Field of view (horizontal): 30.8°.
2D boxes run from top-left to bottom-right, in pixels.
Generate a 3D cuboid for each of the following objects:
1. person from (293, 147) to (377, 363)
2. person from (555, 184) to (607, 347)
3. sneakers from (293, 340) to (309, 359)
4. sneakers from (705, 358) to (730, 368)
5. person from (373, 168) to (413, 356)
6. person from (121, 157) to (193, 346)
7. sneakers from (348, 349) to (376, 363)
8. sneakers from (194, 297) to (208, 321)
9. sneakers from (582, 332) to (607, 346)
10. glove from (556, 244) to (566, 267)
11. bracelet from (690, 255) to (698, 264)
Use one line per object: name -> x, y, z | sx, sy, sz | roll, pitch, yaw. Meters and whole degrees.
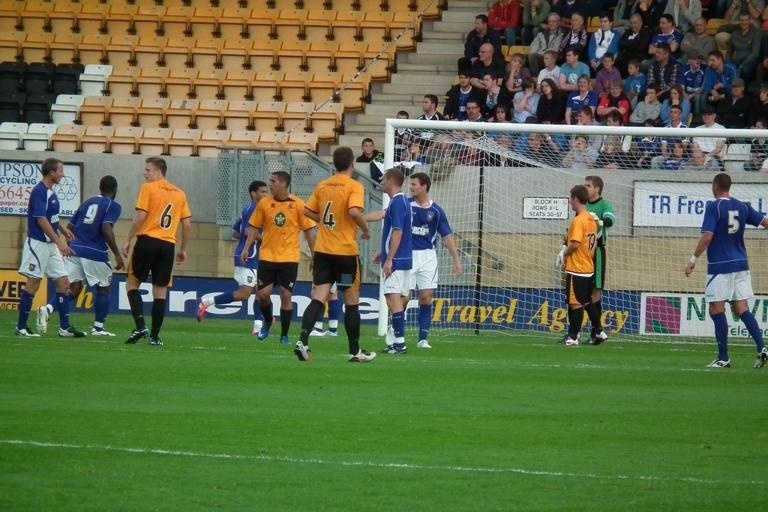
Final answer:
person -> -0.720, -0.044, 20.762 | 1.029, 3.201, 0.742 | 3, -5, -1
person -> 3.380, 0.169, 23.981 | 0.644, 2.719, 1.008 | 1, -6, 16
sneakers -> -1.197, 1.423, 20.656 | 0.124, 0.166, 0.367 | 4, -14, 16
sneakers -> 5.238, 1.682, 21.902 | 0.406, 0.171, 0.147 | 2, -2, 22
person -> 0.147, 0.100, 22.122 | 0.649, 2.876, 1.491 | 2, -5, 1
person -> -3.561, -0.104, 21.967 | 0.949, 2.999, 0.579 | 3, -6, -11
sneakers -> -0.318, 1.508, 21.047 | 0.391, 0.162, 0.162 | -2, 4, -4
sneakers -> -3.356, 0.978, 25.762 | 0.202, 0.474, 0.164 | 7, -1, 39
sneakers -> 3.752, 1.441, 24.454 | 0.150, 0.170, 0.399 | -9, 0, -28
glove -> 3.199, -0.025, 25.120 | 0.134, 0.440, 0.170 | 14, -45, 7
bracelet -> 4.955, 0.054, 22.123 | 0.165, 0.126, 0.139 | 0, 13, 5
